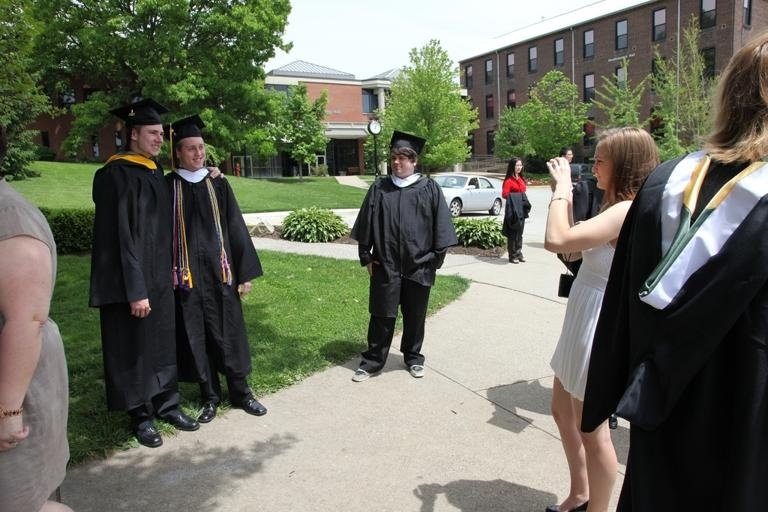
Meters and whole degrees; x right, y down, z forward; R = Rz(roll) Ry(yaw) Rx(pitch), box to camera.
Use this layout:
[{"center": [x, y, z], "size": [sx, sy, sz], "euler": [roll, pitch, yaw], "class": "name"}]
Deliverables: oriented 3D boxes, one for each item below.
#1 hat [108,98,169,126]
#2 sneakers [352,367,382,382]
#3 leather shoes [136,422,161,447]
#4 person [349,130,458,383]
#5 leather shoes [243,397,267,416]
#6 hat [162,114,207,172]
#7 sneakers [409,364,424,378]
[{"center": [-2.153, -1.216, 4.763], "size": [0.376, 0.183, 0.346], "euler": [-5, -5, 25], "class": "hat"}, {"center": [-0.175, 1.242, 5.756], "size": [0.372, 0.100, 0.138], "euler": [-10, 17, -34], "class": "sneakers"}, {"center": [-1.995, 1.518, 4.619], "size": [0.119, 0.138, 0.324], "euler": [-3, 1, -44], "class": "leather shoes"}, {"center": [0.188, -0.009, 5.815], "size": [1.072, 2.548, 0.797], "euler": [-3, 14, -10], "class": "person"}, {"center": [-1.225, 1.411, 5.129], "size": [0.289, 0.104, 0.107], "euler": [3, 6, 42], "class": "leather shoes"}, {"center": [-1.804, -1.073, 5.251], "size": [0.510, 0.617, 0.422], "euler": [-8, 3, -17], "class": "hat"}, {"center": [0.339, 1.243, 5.818], "size": [0.118, 0.077, 0.212], "euler": [-1, -3, -5], "class": "sneakers"}]
